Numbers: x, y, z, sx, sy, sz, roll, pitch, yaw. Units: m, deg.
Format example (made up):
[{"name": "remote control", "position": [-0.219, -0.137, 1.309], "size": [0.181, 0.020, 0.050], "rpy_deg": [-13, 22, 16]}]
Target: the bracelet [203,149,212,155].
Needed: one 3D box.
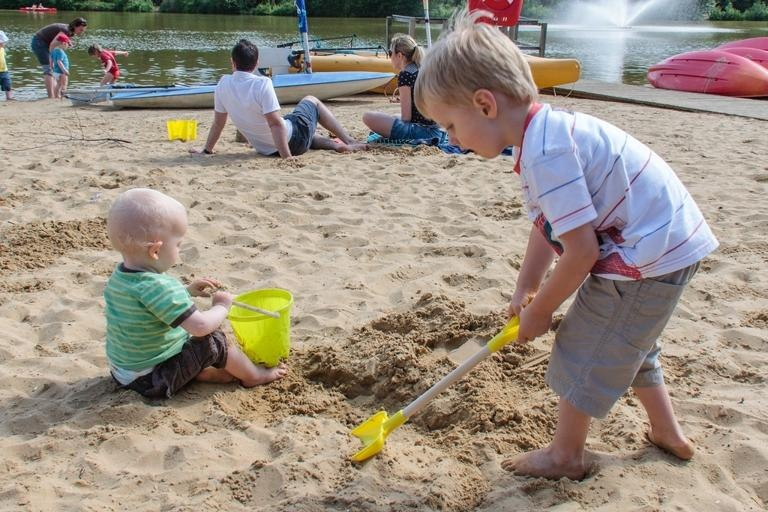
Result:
[{"name": "bracelet", "position": [-2.050, -1.198, 8.897], "size": [0.083, 0.044, 0.071], "rpy_deg": [1, 5, -9]}]

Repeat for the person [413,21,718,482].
[{"name": "person", "position": [0.941, -0.005, 4.257], "size": [1.282, 2.448, 1.004], "rpy_deg": [21, 33, 37]}]

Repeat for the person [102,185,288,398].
[{"name": "person", "position": [-1.321, 0.249, 4.800], "size": [0.902, 1.316, 0.498], "rpy_deg": [-9, 27, -17]}]

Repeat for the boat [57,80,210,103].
[{"name": "boat", "position": [-4.176, -2.847, 13.305], "size": [3.136, 0.298, 0.777], "rpy_deg": [-1, 15, 1]}]

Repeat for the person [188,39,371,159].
[{"name": "person", "position": [-1.322, -1.818, 8.901], "size": [1.815, 1.314, 0.932], "rpy_deg": [-12, 27, -27]}]
